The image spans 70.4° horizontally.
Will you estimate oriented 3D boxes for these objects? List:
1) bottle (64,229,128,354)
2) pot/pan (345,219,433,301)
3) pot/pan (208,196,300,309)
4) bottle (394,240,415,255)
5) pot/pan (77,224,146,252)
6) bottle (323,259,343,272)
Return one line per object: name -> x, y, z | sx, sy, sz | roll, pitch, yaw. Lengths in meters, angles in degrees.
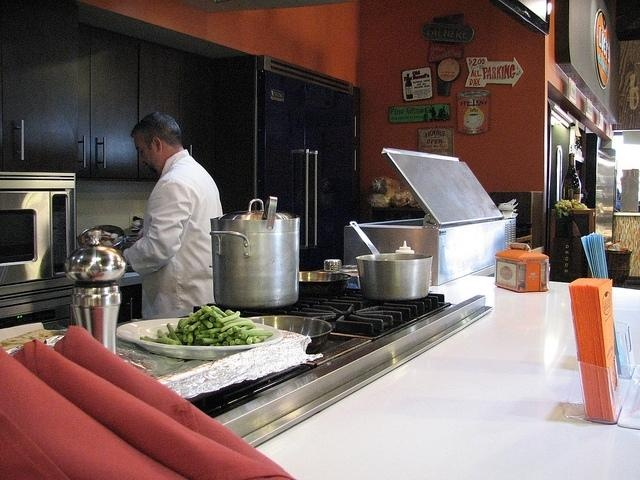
bottle -> -0.361, 0.112, 0.740 | 0.068, 0.254, 0.073 | 2, 8, 0
pot/pan -> 0.228, 0.103, 1.640 | 0.157, 0.164, 0.397 | -2, 1, -20
pot/pan -> -0.166, 0.034, 1.363 | 0.258, 0.329, 0.294 | -2, 2, 23
bottle -> 0.359, 0.043, 1.919 | 0.077, 0.056, 0.077 | -2, 0, 0
pot/pan -> -0.893, -0.009, 1.978 | 0.215, 0.092, 0.178 | -2, 6, -23
bottle -> 0.056, 0.120, 2.081 | 0.057, 0.042, 0.059 | 0, -2, 0
